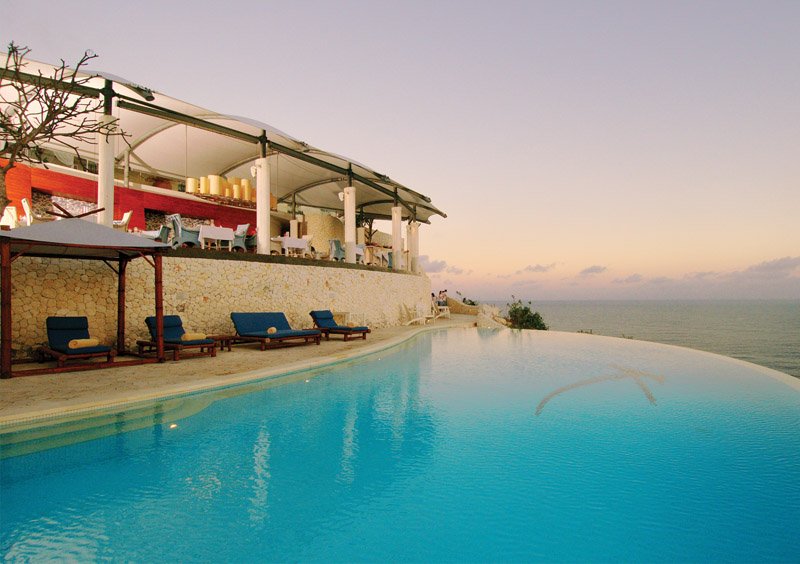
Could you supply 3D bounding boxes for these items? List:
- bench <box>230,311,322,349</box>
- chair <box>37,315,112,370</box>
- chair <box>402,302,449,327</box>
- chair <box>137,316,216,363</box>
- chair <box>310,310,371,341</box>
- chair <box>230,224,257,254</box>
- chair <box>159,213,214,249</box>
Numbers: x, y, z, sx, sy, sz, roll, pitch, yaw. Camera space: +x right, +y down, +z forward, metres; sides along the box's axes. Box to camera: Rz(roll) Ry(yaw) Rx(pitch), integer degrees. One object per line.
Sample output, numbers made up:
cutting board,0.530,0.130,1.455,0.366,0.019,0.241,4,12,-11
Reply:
bench,-3.814,1.317,15.766,1.763,0.543,1.674,-1,-1,37
chair,-7.835,1.357,12.986,1.876,0.787,1.328,3,1,42
chair,1.345,1.586,26.988,0.815,0.464,4.945,1,0,24
chair,-5.779,1.365,14.136,1.706,0.745,1.203,4,4,35
chair,-2.077,1.386,17.707,1.774,0.707,1.118,0,0,28
chair,-4.964,-1.354,17.228,0.610,0.876,1.582,1,2,-2
chair,-6.679,-1.561,16.463,1.556,1.203,1.375,1,0,-42
